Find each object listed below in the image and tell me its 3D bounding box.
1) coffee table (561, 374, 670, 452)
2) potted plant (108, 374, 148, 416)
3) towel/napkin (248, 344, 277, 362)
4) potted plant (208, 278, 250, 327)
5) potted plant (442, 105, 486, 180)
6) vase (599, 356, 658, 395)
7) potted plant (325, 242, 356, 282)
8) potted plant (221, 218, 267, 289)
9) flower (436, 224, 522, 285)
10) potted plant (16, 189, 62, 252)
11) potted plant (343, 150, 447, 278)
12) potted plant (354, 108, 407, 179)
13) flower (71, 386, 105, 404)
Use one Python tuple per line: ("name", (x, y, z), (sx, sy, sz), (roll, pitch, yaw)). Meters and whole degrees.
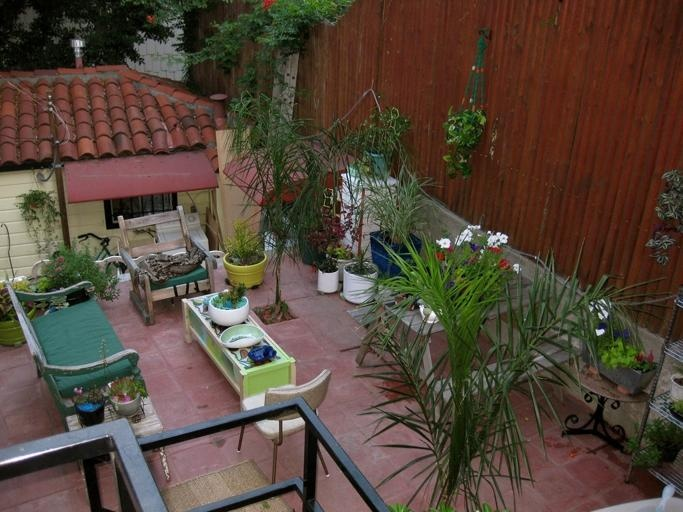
("coffee table", (3.042, 1.748, 5.703), (0.727, 0.830, 0.830), (18, 30, 23))
("potted plant", (-2.299, 1.480, 5.689), (0.385, 0.470, 0.391), (-9, 17, -42))
("towel/napkin", (-0.944, 1.213, 6.277), (0.347, 0.181, 0.200), (-8, 26, -12))
("potted plant", (-1.489, 0.631, 7.066), (0.500, 0.505, 0.532), (1, 6, 8))
("potted plant", (1.789, -1.589, 7.514), (0.573, 1.059, 0.554), (8, 26, 21))
("vase", (3.116, 1.339, 5.725), (0.346, 0.307, 0.547), (-6, 20, -19))
("potted plant", (-0.015, 0.119, 8.919), (0.459, 0.636, 0.589), (0, 18, -2))
("potted plant", (-1.640, 0.005, 8.848), (0.692, 1.159, 0.730), (14, 27, 23))
("flower", (1.536, -0.017, 5.624), (0.599, 0.601, 0.617), (-12, 17, -43))
("potted plant", (-5.423, -0.635, 9.367), (0.722, 1.396, 0.393), (-1, 13, -14))
("potted plant", (0.911, -0.735, 8.592), (1.504, 1.955, 1.842), (-8, 21, -27))
("potted plant", (0.676, -1.800, 8.534), (1.108, 1.333, 1.005), (0, 28, 0))
("flower", (-2.667, 1.483, 5.521), (0.248, 0.267, 0.262), (2, 3, -7))
